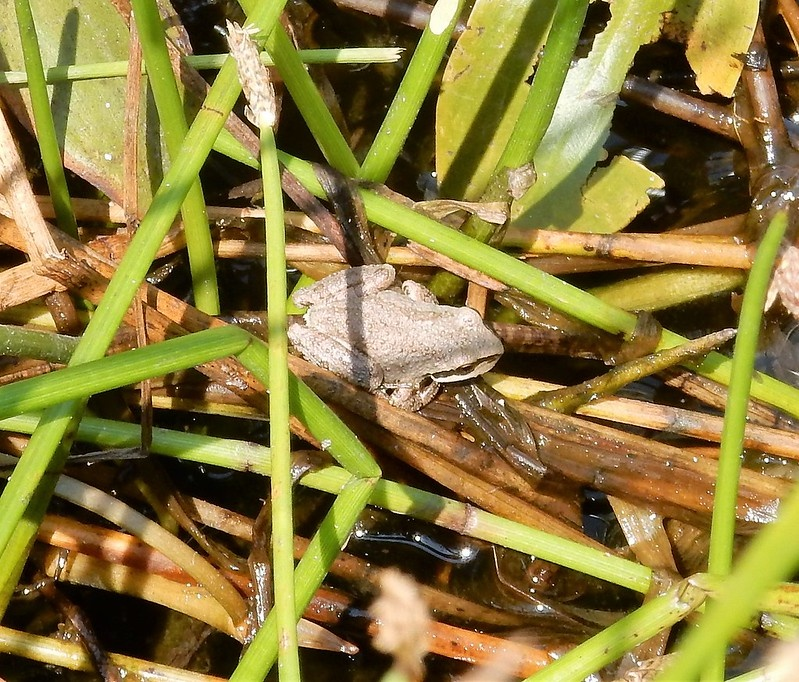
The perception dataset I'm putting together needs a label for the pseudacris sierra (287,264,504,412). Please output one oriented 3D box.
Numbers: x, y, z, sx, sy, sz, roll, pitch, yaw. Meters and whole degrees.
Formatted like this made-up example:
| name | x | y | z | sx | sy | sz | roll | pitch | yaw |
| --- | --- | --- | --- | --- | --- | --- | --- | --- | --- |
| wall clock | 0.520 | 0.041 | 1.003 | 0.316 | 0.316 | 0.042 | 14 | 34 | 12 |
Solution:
| name | x | y | z | sx | sy | sz | roll | pitch | yaw |
| --- | --- | --- | --- | --- | --- | --- | --- | --- | --- |
| pseudacris sierra | -0.005 | -0.019 | 1.861 | 0.458 | 0.152 | 0.296 | 13 | 68 | -7 |
